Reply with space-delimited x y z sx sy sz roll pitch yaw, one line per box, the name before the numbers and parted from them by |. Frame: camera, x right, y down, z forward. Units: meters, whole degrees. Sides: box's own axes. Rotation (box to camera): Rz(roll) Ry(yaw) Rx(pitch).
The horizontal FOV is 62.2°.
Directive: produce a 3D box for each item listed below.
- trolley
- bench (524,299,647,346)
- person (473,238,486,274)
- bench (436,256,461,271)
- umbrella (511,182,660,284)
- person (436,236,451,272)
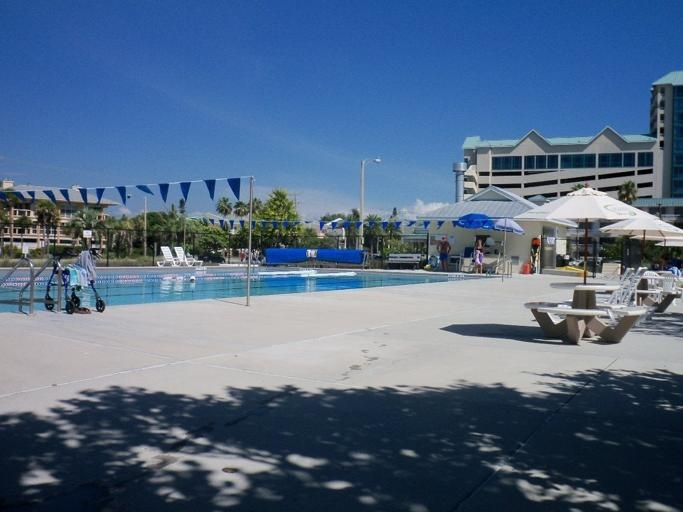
trolley | -5.405 0.521 11.502 1.088 1.246 0.827 6 4 26
bench | 4.074 1.142 9.385 1.740 0.480 1.787 -1 -7 8
person | 7.738 0.063 32.083 0.564 1.811 1.256 2 6 14
bench | 6.406 0.467 33.683 0.872 1.402 1.033 -2 -5 34
umbrella | 3.952 -0.590 9.803 1.994 1.429 1.900 -3 3 -43
person | 6.107 -0.065 33.874 0.620 1.837 1.394 2 6 10
